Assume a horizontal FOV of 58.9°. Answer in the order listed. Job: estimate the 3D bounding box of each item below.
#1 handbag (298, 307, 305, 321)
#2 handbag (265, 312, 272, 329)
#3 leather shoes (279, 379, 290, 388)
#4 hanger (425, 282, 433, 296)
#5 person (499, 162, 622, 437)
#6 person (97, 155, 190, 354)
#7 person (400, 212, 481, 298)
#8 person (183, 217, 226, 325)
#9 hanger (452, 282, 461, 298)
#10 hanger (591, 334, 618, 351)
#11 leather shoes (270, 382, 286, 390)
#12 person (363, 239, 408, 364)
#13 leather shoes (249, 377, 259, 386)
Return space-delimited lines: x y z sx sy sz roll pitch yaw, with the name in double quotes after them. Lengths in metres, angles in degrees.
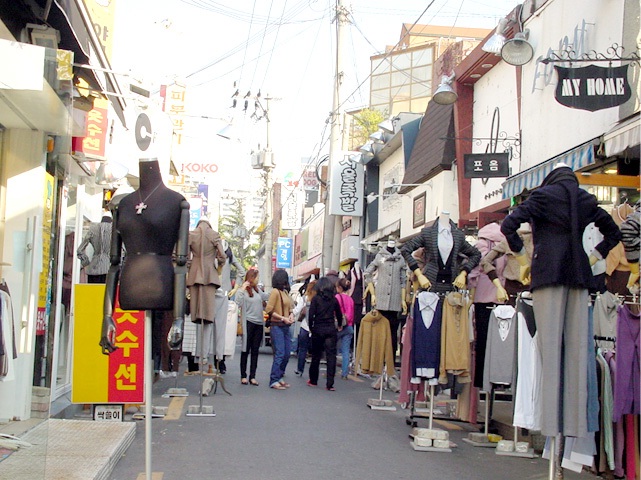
-0.479 1.946 14.709 0.121 0.417 0.273 14 -3 -12 "handbag"
-1.082 1.665 11.756 0.124 0.295 0.192 6 6 6 "handbag"
-0.736 2.920 11.534 0.125 0.145 0.317 1 -8 -7 "leather shoes"
1.478 0.657 7.749 0.044 0.142 0.093 10 7 -10 "hanger"
2.172 0.501 5.322 0.721 2.583 0.386 0 -10 16 "person"
-1.386 0.124 4.546 0.554 1.490 0.343 1 -6 -9 "person"
1.663 0.176 7.787 1.036 1.096 0.674 1 -10 10 "person"
-2.003 0.458 9.741 0.606 1.786 0.580 2 15 -11 "person"
1.808 0.669 7.549 0.170 0.241 0.112 1 5 21 "hanger"
3.009 1.091 6.004 0.254 0.215 0.153 -1 -9 16 "hanger"
-0.852 2.893 11.263 0.324 0.155 0.116 -2 0 27 "leather shoes"
1.223 1.077 10.725 0.749 2.180 0.853 1 -10 10 "person"
-1.384 2.933 11.742 0.167 0.147 0.464 1 -6 -16 "leather shoes"
